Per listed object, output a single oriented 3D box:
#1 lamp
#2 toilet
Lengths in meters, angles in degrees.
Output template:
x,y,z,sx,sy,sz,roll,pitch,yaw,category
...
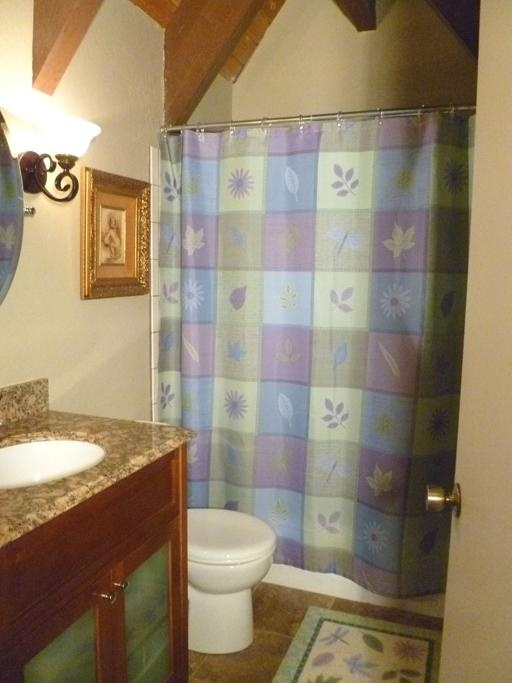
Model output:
x,y,z,sx,sy,sz,roll,pitch,yaw,category
-0.515,-0.493,1.613,0.170,0.204,0.271,1,5,5,lamp
-0.125,0.809,1.953,0.385,0.347,0.358,0,4,3,toilet
